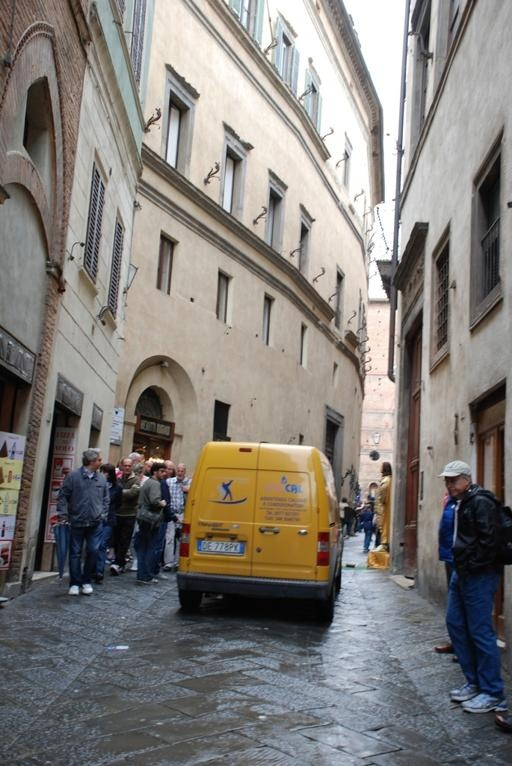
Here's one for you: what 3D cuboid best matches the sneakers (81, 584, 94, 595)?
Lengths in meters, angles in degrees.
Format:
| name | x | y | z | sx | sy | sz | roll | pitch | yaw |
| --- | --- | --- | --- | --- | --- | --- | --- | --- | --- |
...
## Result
| name | x | y | z | sx | sy | sz | roll | pitch | yaw |
| --- | --- | --- | --- | --- | --- | --- | --- | --- | --- |
| sneakers | -2.593 | 3.181 | 6.848 | 0.089 | 0.111 | 0.222 | 2 | 4 | -1 |

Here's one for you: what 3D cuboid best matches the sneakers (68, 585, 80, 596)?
| name | x | y | z | sx | sy | sz | roll | pitch | yaw |
| --- | --- | --- | --- | --- | --- | --- | --- | --- | --- |
| sneakers | -2.746 | 3.109 | 6.686 | 0.092 | 0.106 | 0.200 | 4 | 7 | -4 |

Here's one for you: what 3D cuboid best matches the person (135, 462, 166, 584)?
| name | x | y | z | sx | sy | sz | roll | pitch | yaw |
| --- | --- | --- | --- | --- | --- | --- | --- | --- | --- |
| person | -2.014 | 2.753 | 8.350 | 0.482 | 1.886 | 0.692 | 3 | -14 | -19 |

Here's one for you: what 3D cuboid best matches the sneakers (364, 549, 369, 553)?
| name | x | y | z | sx | sy | sz | roll | pitch | yaw |
| --- | --- | --- | --- | --- | --- | --- | --- | --- | --- |
| sneakers | 4.565 | 6.993 | 18.587 | 0.186 | 0.116 | 0.489 | -6 | -17 | 12 |

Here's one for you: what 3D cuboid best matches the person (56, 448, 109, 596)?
| name | x | y | z | sx | sy | sz | roll | pitch | yaw |
| --- | --- | --- | --- | --- | --- | --- | --- | --- | --- |
| person | -2.696 | 2.121 | 6.996 | 0.625 | 2.240 | 0.480 | 4 | -2 | -32 |

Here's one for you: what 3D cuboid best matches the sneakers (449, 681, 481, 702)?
| name | x | y | z | sx | sy | sz | roll | pitch | yaw |
| --- | --- | --- | --- | --- | --- | --- | --- | --- | --- |
| sneakers | 1.398 | 2.053 | 2.975 | 0.248 | 0.137 | 0.086 | 7 | -10 | -37 |

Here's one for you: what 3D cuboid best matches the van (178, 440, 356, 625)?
| name | x | y | z | sx | sy | sz | roll | pitch | yaw |
| --- | --- | --- | --- | --- | --- | --- | --- | --- | --- |
| van | 0.075 | 1.865 | 6.146 | 1.320 | 1.762 | 2.939 | 0 | -5 | 9 |

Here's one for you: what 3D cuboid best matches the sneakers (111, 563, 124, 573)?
| name | x | y | z | sx | sy | sz | roll | pitch | yaw |
| --- | --- | --- | --- | --- | --- | --- | --- | --- | --- |
| sneakers | -2.904 | 3.868 | 9.265 | 0.089 | 0.156 | 0.323 | -1 | -28 | 10 |

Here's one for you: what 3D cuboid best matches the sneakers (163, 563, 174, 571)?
| name | x | y | z | sx | sy | sz | roll | pitch | yaw |
| --- | --- | --- | --- | --- | --- | --- | --- | --- | --- |
| sneakers | -2.006 | 4.177 | 10.117 | 0.160 | 0.153 | 0.187 | 0 | -3 | 6 |
